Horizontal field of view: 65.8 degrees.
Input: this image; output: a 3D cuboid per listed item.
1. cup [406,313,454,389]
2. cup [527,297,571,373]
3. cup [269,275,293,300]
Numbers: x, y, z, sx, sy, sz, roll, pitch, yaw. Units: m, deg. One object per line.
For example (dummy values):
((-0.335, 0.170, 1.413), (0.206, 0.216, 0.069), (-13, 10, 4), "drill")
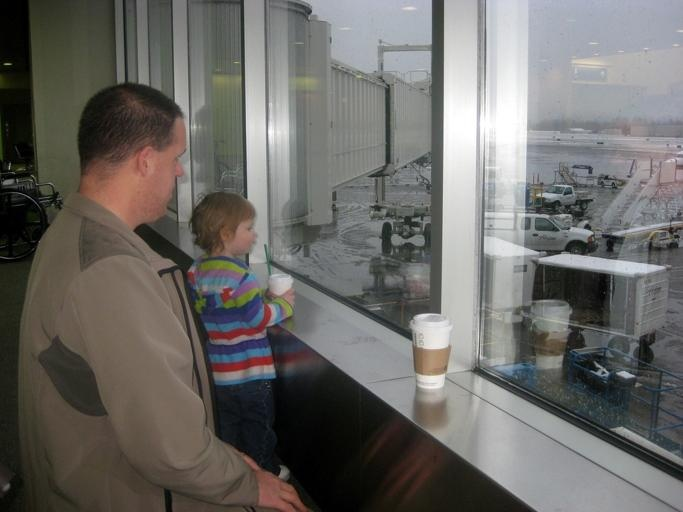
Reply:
((0.285, 0.294, 1.687), (0.122, 0.246, 0.177), (2, 12, 12), "cup")
((0.623, 0.237, 1.564), (0.122, 0.206, 0.127), (6, -4, 0), "cup")
((-0.273, 0.151, 2.487), (0.106, 0.085, 0.082), (1, 1, -39), "cup")
